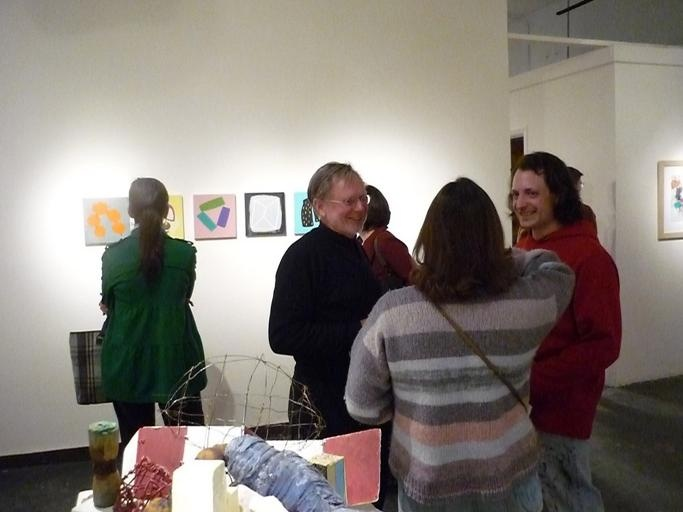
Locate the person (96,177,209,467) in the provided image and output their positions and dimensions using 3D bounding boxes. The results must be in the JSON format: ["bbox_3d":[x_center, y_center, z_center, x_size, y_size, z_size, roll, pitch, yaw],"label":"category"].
[{"bbox_3d":[-1.276,0.377,3.611,0.664,1.778,0.417,-6,6,-24],"label":"person"}]
